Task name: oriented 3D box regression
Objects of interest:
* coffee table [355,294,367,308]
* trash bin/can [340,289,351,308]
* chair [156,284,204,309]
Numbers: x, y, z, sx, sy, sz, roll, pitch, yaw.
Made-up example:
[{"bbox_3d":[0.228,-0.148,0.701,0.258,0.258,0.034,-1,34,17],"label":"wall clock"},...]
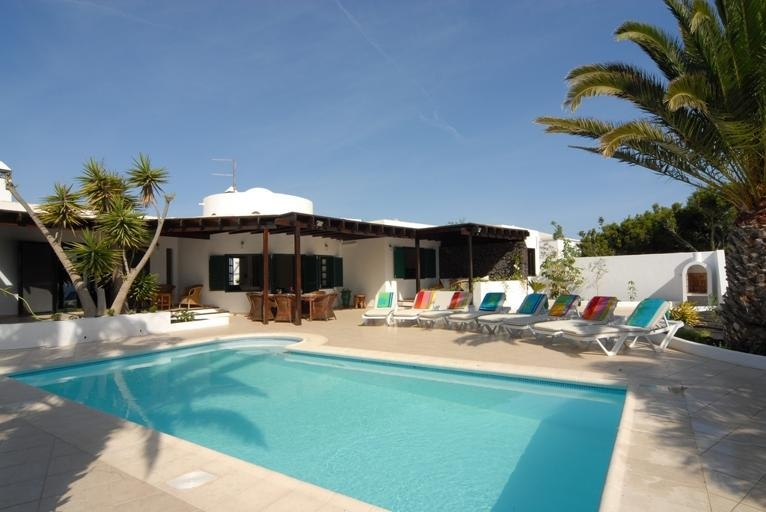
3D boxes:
[{"bbox_3d":[-1.072,2.031,20.886,0.516,0.526,0.536,-3,-4,32],"label":"coffee table"},{"bbox_3d":[-1.692,1.931,21.258,0.652,0.745,0.636,0,-8,-10],"label":"trash bin/can"},{"bbox_3d":[-7.944,1.579,18.072,1.027,0.832,1.281,-1,-12,3],"label":"chair"}]
